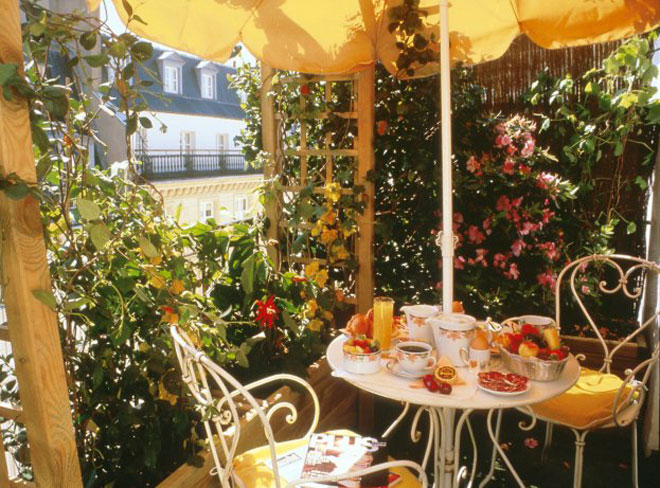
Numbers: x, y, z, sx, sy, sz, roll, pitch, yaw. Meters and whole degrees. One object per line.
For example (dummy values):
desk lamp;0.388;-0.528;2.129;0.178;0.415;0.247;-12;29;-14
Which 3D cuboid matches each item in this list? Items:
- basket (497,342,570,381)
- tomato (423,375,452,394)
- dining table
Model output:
basket;0.701;0.417;2.019;0.219;0.107;0.078;-1;6;17
tomato;0.353;0.465;1.913;0.050;0.036;0.075;7;10;-17
dining table;0.442;0.712;2.322;0.813;0.579;0.830;1;7;5
